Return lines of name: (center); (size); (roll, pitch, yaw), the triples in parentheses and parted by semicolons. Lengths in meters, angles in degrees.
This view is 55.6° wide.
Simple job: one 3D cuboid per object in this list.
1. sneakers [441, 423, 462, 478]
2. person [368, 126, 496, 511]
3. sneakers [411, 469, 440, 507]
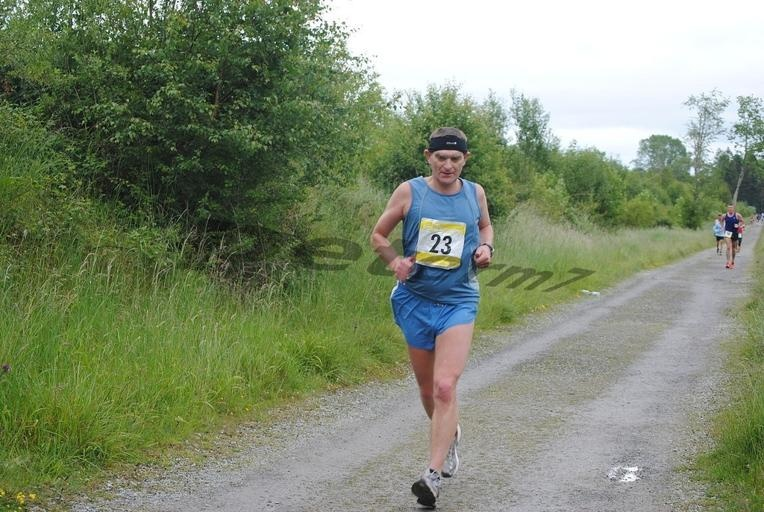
sneakers: (0.727, 2.045, 7.453); (0.189, 0.613, 0.234); (5, -3, 10)
person: (0.521, 0.551, 7.213); (1.142, 3.597, 1.022); (0, 9, 3)
sneakers: (0.430, 2.216, 6.975); (0.263, 0.400, 0.289); (0, 9, 3)
